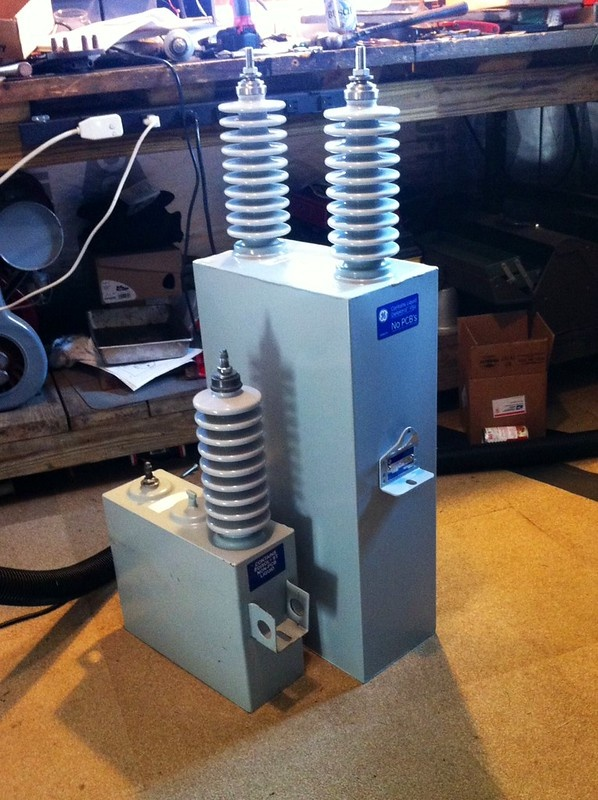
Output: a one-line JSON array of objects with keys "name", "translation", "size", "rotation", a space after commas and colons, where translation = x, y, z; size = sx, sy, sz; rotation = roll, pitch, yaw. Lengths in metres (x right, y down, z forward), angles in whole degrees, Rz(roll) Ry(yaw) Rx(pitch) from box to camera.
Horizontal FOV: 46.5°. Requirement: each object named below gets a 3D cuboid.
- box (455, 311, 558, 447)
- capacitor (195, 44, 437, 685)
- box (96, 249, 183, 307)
[{"name": "box", "translation": [0.617, -0.058, 2.089], "size": [0.321, 0.460, 0.274], "rotation": [-4, 31, 0]}, {"name": "capacitor", "translation": [0.020, -0.031, 1.216], "size": [0.442, 1.062, 0.344], "rotation": [6, 27, 24]}, {"name": "box", "translation": [-0.472, -0.373, 2.092], "size": [0.285, 0.171, 0.157], "rotation": [-8, 39, -9]}]
